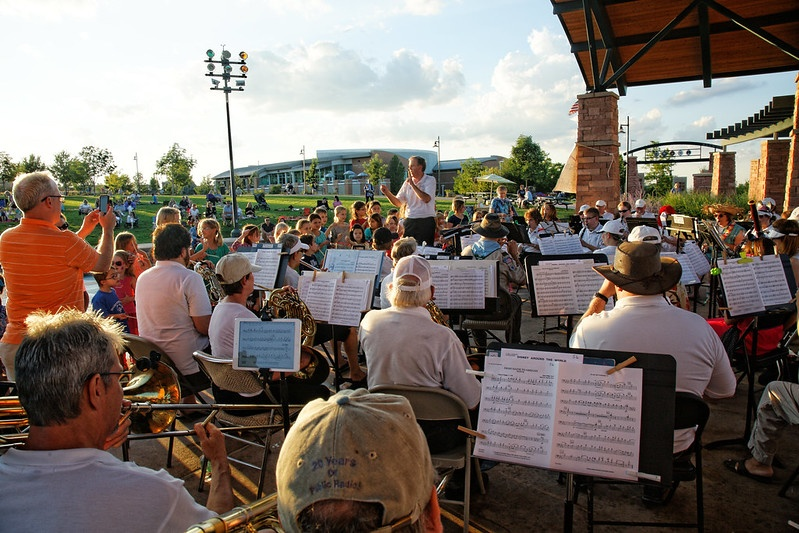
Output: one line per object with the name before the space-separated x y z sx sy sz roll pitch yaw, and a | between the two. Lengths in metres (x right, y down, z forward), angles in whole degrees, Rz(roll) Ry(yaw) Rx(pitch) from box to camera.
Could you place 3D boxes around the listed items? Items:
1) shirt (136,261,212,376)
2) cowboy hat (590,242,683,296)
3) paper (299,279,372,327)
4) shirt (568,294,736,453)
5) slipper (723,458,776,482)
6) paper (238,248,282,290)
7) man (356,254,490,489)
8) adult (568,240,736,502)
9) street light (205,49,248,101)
shirt | -2.110 0.420 6.156 0.722 0.977 0.702 3 11 24
cowboy hat | 1.816 -0.050 4.865 0.620 0.264 0.694 0 20 14
paper | -0.615 0.277 6.111 0.664 0.472 0.067 3 -21 4
shirt | 1.772 0.769 4.464 1.321 1.120 0.737 4 -1 17
slipper | 2.931 1.653 5.352 0.329 0.104 0.143 13 4 40
paper | -1.369 0.030 6.376 0.439 0.382 0.051 1 -13 29
man | 0.376 0.918 5.237 0.915 2.003 1.080 -3 7 23
adult | 1.919 0.786 4.925 1.201 1.852 0.951 4 18 33
street light | -5.226 -5.629 19.374 1.277 1.844 0.540 -5 18 -23
